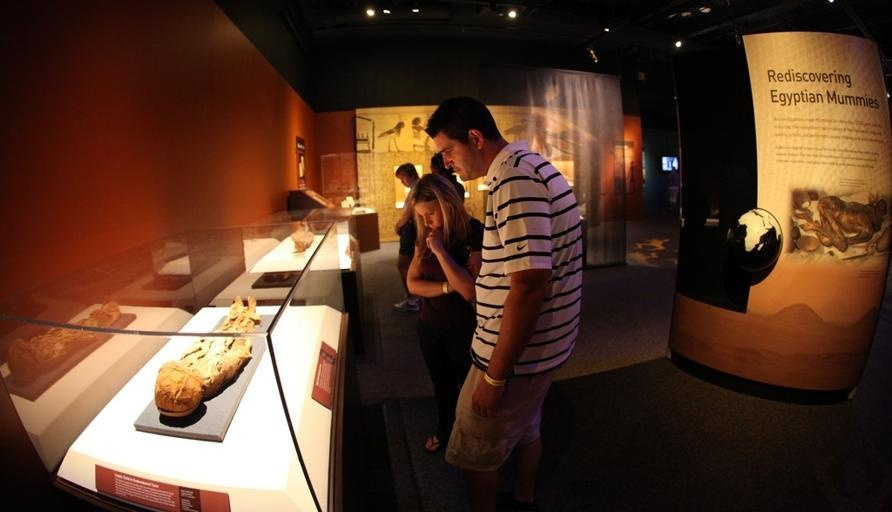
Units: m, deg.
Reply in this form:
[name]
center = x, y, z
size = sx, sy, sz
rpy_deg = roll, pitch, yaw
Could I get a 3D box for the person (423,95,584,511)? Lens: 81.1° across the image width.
[person]
center = 0.383, 0.362, 3.480
size = 0.972, 2.767, 0.449
rpy_deg = 3, 11, 13

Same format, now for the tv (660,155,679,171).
[tv]
center = 6.111, -2.523, 14.335
size = 0.665, 0.425, 0.195
rpy_deg = -6, 12, -28

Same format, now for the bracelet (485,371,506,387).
[bracelet]
center = 0.313, 0.791, 3.378
size = 0.133, 0.094, 0.064
rpy_deg = 2, 11, 9

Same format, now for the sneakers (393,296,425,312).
[sneakers]
center = -0.461, 0.599, 6.572
size = 0.370, 0.176, 0.157
rpy_deg = 3, 6, -1
